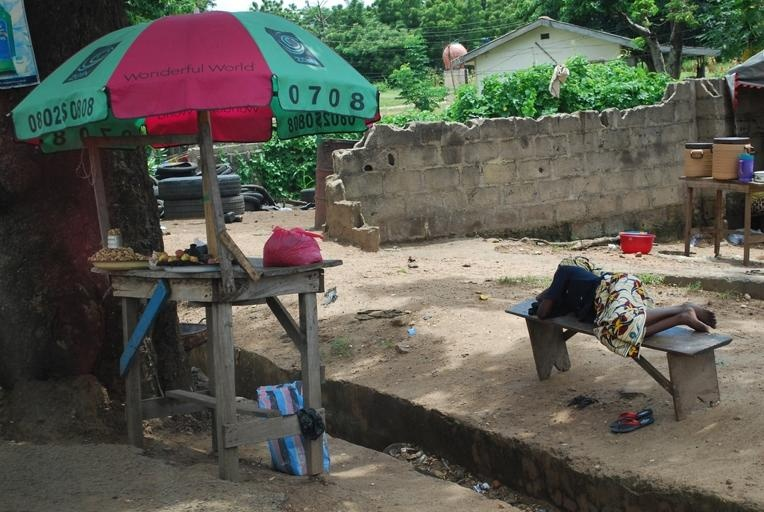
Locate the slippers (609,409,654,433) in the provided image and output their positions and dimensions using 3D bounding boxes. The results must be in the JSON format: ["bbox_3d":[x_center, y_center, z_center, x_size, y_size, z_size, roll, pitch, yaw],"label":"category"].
[{"bbox_3d":[2.472,1.618,9.018,0.379,0.100,0.209,-13,6,-31],"label":"slippers"}]

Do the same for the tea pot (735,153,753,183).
[{"bbox_3d":[5.387,-1.311,13.553,0.195,0.445,0.360,-4,6,6],"label":"tea pot"}]

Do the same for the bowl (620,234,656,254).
[{"bbox_3d":[4.093,-0.206,14.922,0.394,0.227,0.387,0,-2,0],"label":"bowl"}]

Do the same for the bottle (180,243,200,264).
[{"bbox_3d":[-1.835,-0.005,8.759,0.191,0.079,0.192,15,14,-4],"label":"bottle"}]

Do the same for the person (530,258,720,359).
[{"bbox_3d":[2.401,0.484,9.407,0.976,0.580,1.731,-13,18,-28],"label":"person"}]

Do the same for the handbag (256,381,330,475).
[{"bbox_3d":[-0.886,1.701,8.991,0.648,0.755,0.444,-30,-25,32],"label":"handbag"}]

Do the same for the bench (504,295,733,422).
[{"bbox_3d":[2.473,1.072,9.754,0.713,0.836,2.388,-20,18,-34],"label":"bench"}]

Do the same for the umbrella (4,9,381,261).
[{"bbox_3d":[-1.791,-1.696,8.942,3.481,1.167,2.126,-5,6,0],"label":"umbrella"}]

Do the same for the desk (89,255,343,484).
[{"bbox_3d":[-1.656,1.063,9.211,2.231,1.905,1.566,-1,0,43],"label":"desk"}]
